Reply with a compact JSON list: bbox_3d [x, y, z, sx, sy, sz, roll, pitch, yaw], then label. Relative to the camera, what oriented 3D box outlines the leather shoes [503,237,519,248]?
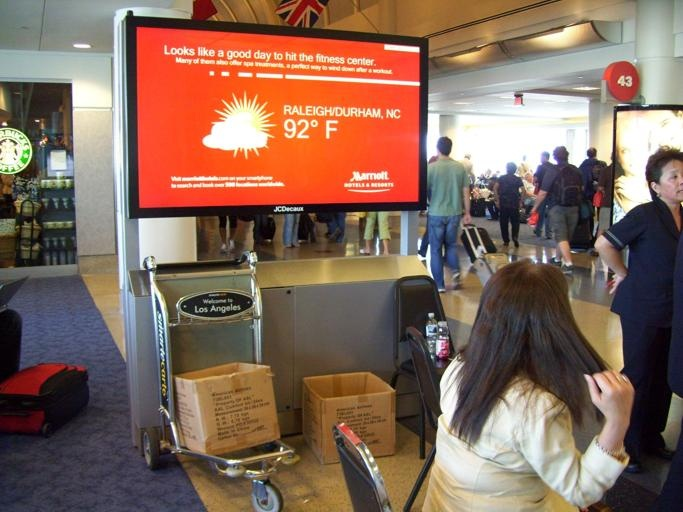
[{"bbox_3d":[3.669,-0.278,11.157,0.165,0.231,0.504,-1,-6,3],"label":"leather shoes"}]

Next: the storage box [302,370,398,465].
[{"bbox_3d":[0.024,1.019,3.778,0.771,0.641,0.771,-1,3,-20],"label":"storage box"}]

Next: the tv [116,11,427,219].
[{"bbox_3d":[-0.495,-0.977,3.712,2.036,1.206,0.141,-1,5,-18],"label":"tv"}]

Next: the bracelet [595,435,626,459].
[{"bbox_3d":[0.818,0.577,1.558,0.071,0.035,0.058,13,3,1],"label":"bracelet"}]

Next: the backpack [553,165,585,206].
[{"bbox_3d":[3.778,-1.177,8.607,0.453,0.707,0.371,1,6,21],"label":"backpack"}]

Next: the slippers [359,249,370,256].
[{"bbox_3d":[0.433,-0.074,9.804,0.133,0.149,0.373,-1,0,-5],"label":"slippers"}]
